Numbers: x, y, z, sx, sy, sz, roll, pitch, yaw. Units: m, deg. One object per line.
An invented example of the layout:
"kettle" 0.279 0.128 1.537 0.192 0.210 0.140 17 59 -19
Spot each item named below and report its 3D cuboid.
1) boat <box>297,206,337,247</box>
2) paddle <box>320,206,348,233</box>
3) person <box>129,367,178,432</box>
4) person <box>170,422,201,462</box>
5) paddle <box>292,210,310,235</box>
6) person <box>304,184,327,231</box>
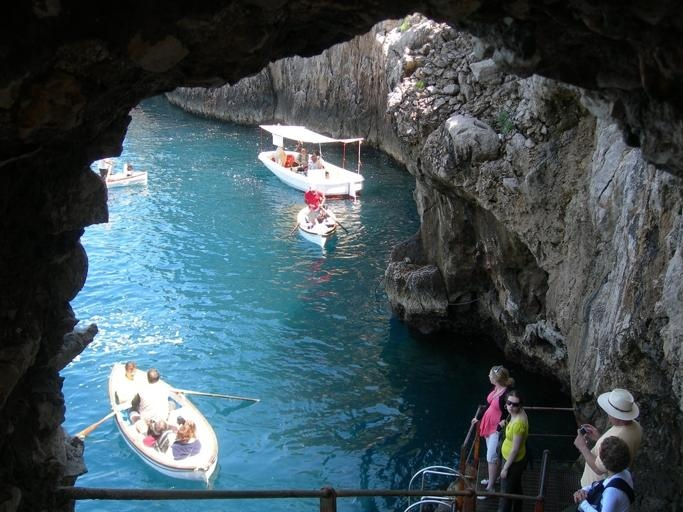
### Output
"boat" -0.954 -1.171 26.101 1.391 1.056 2.440 3 16 -10
"paddle" -0.376 -1.315 26.828 1.221 0.213 0.819 37 18 -32
"person" -3.923 2.893 13.944 0.736 1.534 0.960 -2 17 -26
"person" -3.224 3.895 13.906 0.636 0.433 0.918 3 6 -12
"paddle" -1.486 -1.411 26.680 0.396 0.313 1.849 -4 35 -2
"person" -1.035 -1.935 26.693 0.776 1.887 0.625 -15 29 -12
